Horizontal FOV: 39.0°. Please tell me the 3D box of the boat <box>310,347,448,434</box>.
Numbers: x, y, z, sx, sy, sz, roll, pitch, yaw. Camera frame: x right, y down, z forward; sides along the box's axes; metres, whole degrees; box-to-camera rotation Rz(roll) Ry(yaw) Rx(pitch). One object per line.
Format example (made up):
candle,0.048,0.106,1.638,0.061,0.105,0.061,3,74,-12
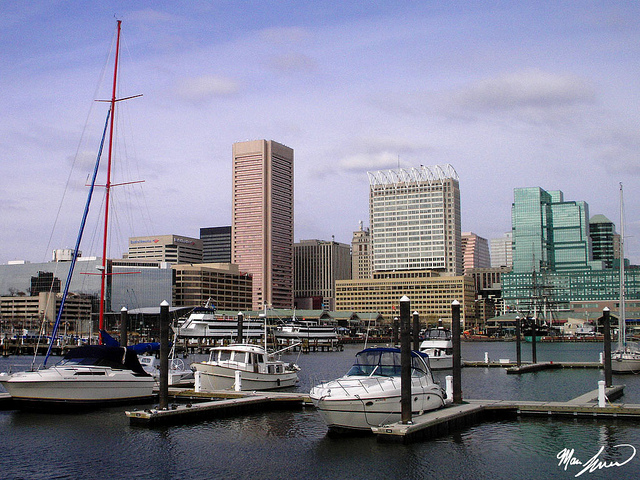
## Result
boat,4.471,10.751,63.449,4.857,4.067,9.780,-6,-6,44
